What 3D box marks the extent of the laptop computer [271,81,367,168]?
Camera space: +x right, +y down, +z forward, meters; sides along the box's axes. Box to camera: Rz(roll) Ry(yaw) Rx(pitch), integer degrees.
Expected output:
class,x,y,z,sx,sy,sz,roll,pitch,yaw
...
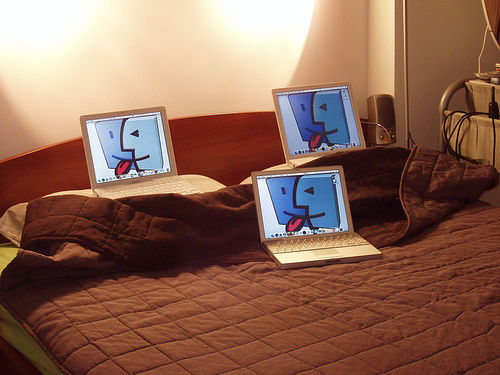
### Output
class,x,y,z,sx,sy,sz,roll,pitch,yaw
laptop computer,0.370,-0.358,1.941,0.504,0.389,0.030,4,27,45

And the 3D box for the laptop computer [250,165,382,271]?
class,x,y,z,sx,sy,sz,roll,pitch,yaw
laptop computer,0.234,0.072,1.413,0.418,0.267,0.407,-5,14,-18

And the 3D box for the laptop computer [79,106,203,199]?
class,x,y,z,sx,sy,sz,roll,pitch,yaw
laptop computer,-0.634,-0.205,1.920,0.524,0.348,0.543,-8,15,-27
